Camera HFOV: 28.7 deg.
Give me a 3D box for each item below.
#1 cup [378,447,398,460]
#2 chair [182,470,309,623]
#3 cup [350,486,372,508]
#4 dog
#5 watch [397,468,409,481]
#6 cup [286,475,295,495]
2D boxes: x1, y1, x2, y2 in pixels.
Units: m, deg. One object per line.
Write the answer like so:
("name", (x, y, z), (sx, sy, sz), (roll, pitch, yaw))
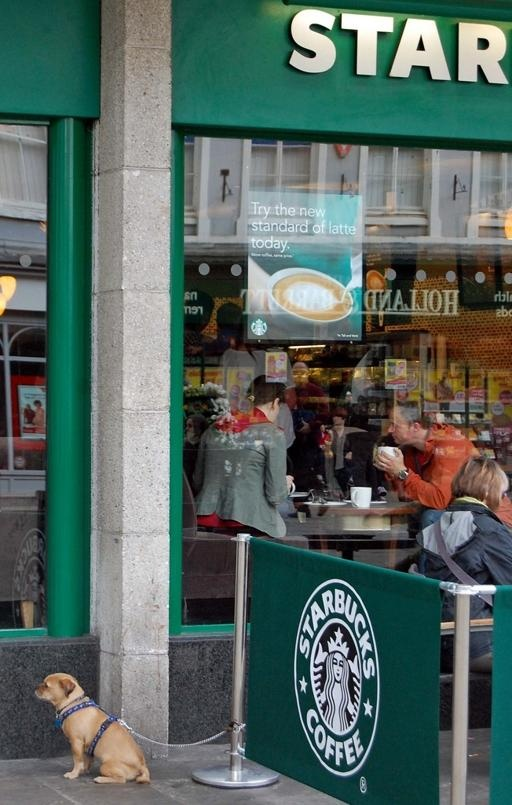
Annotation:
("cup", (0.795, 0.300, 5.995), (0.094, 0.058, 0.067), (3, -6, -11))
("chair", (-0.039, 0.863, 5.616), (0.717, 0.913, 0.636), (0, 2, -8))
("cup", (0.619, 0.562, 5.899), (0.093, 0.094, 0.140), (0, -8, -6))
("dog", (-0.706, 1.464, 4.478), (0.562, 0.421, 0.234), (8, -9, 5))
("watch", (0.889, 0.432, 6.008), (0.060, 0.069, 0.023), (1, 2, -4))
("cup", (0.199, 0.479, 5.754), (0.038, 0.095, 0.071), (-9, 0, 2))
